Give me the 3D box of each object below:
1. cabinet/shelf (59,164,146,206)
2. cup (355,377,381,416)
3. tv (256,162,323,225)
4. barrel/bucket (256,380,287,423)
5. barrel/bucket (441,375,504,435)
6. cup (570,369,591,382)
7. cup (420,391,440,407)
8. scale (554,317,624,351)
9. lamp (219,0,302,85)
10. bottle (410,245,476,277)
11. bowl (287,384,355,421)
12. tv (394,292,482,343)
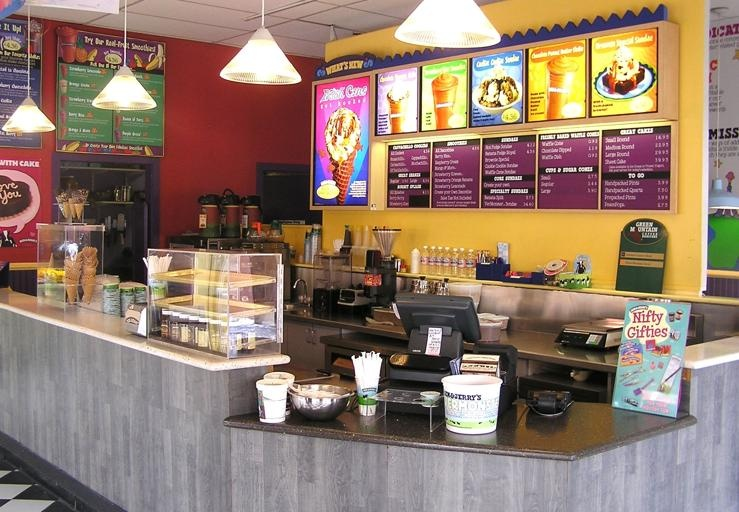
[{"bbox_3d":[-3.136,-0.848,7.083,0.949,0.562,0.486,-6,15,-34],"label":"cabinet/shelf"},{"bbox_3d":[-0.005,0.710,3.055,0.105,0.189,0.083,1,3,-1],"label":"cup"},{"bbox_3d":[-1.126,-0.887,8.282,0.903,0.994,0.080,-11,11,-27],"label":"tv"},{"bbox_3d":[-0.480,0.746,3.091,0.190,0.181,0.175,-3,-8,0],"label":"barrel/bucket"},{"bbox_3d":[0.464,0.693,2.856,0.257,0.185,0.269,0,1,0],"label":"barrel/bucket"},{"bbox_3d":[1.415,0.801,4.041,0.095,0.059,0.082,-3,-3,18],"label":"cup"},{"bbox_3d":[0.300,0.707,2.965,0.109,0.061,0.084,1,3,14],"label":"cup"},{"bbox_3d":[1.697,0.564,4.404,0.573,0.123,0.419,-2,3,-28],"label":"scale"},{"bbox_3d":[-0.643,-1.243,3.590,0.375,0.375,0.358,-1,3,-37],"label":"lamp"},{"bbox_3d":[0.694,0.049,5.559,0.691,0.278,0.190,3,3,42],"label":"bottle"},{"bbox_3d":[-0.243,0.747,3.095,0.333,0.147,0.321,1,3,0],"label":"bowl"},{"bbox_3d":[0.382,0.351,3.320,0.442,0.279,0.196,1,13,29],"label":"tv"}]
